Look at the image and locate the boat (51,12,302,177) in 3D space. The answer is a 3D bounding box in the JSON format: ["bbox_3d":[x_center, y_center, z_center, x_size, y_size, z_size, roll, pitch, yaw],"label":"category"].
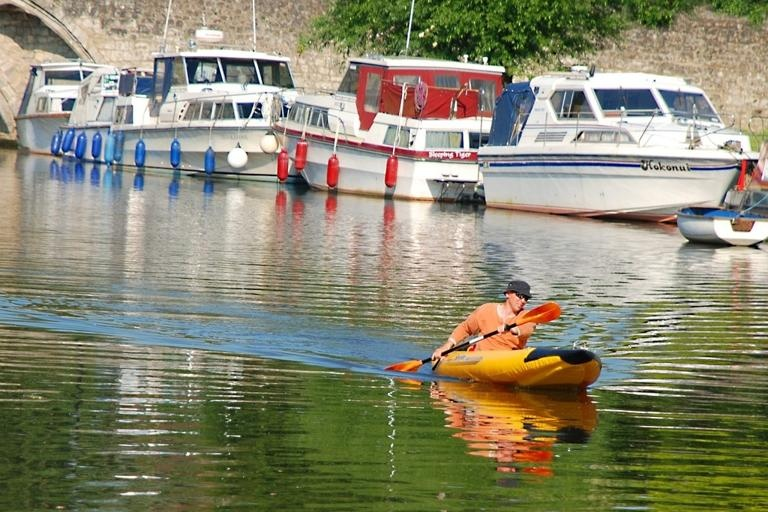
[{"bbox_3d":[-6.425,-5.215,49.429,5.606,4.845,11.564,-8,15,-40],"label":"boat"}]

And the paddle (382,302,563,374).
[{"bbox_3d":[1.484,1.493,25.430,3.293,0.372,0.190,-22,-35,18],"label":"paddle"}]

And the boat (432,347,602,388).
[{"bbox_3d":[2.317,1.812,25.149,2.672,0.761,0.375,6,13,18],"label":"boat"}]

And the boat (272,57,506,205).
[{"bbox_3d":[-0.252,-3.774,44.206,3.958,2.627,6.357,-2,8,-36],"label":"boat"}]
